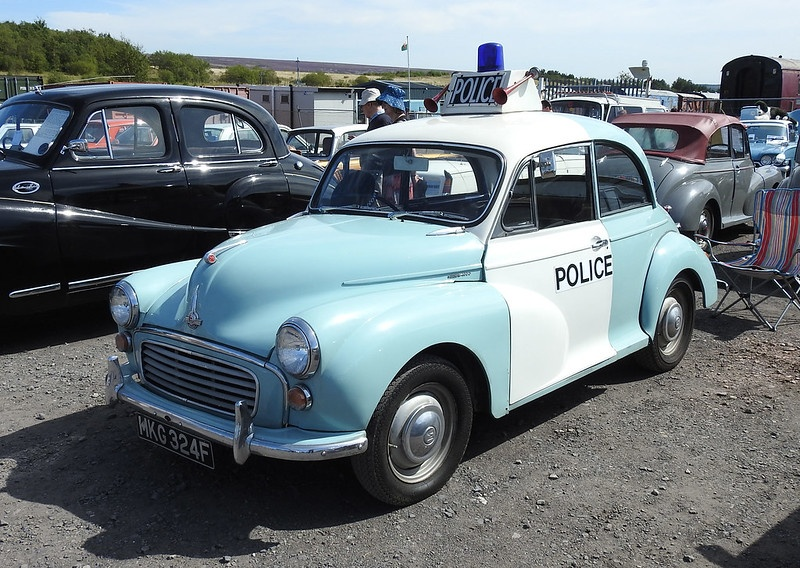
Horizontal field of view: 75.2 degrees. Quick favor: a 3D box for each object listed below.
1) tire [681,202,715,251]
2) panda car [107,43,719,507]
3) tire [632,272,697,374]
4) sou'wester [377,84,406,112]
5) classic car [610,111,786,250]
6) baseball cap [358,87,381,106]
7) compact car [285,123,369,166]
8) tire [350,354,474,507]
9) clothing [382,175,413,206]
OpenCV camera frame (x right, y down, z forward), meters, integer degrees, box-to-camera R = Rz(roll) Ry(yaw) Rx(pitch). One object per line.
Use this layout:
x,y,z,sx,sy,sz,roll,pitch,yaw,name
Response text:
4.481,-0.891,7.839,0.384,1.049,1.007,7,8,31,tire
0.257,-0.082,4.572,4.862,2.642,2.581,-10,13,-38,panda car
2.425,0.343,4.803,0.857,1.021,0.296,3,7,-43,tire
-0.088,-2.442,6.923,0.338,0.233,0.434,28,13,7,sou'wester
5.007,-1.888,9.234,3.911,1.955,2.175,-18,22,-37,classic car
-0.470,-2.707,7.478,0.239,0.166,0.303,-30,19,-33,baseball cap
-2.090,-3.621,14.072,2.504,1.221,1.427,0,22,17,compact car
0.044,0.852,3.038,0.722,0.798,0.244,-25,20,-37,tire
-0.015,-0.712,3.957,0.132,0.255,0.145,4,-27,-10,clothing
